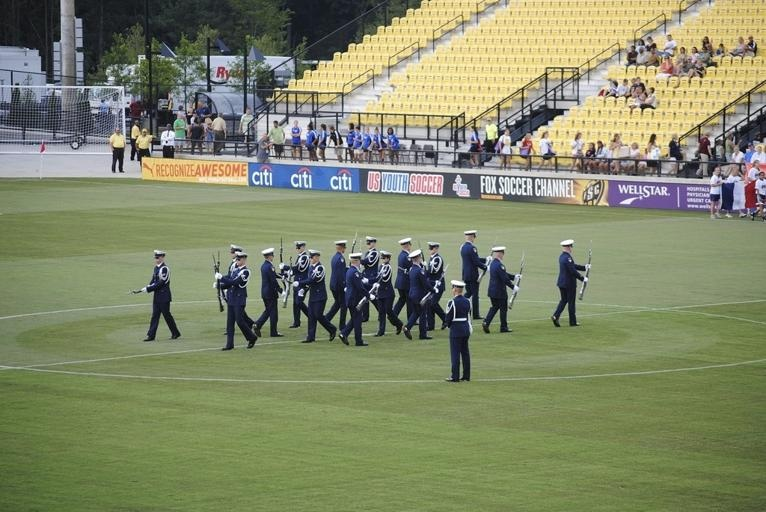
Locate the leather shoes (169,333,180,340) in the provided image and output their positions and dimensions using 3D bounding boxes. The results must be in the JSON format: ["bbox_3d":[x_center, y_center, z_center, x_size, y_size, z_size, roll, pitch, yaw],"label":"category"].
[{"bbox_3d":[-7.054,2.705,61.542,0.366,0.132,0.116,-2,20,29],"label":"leather shoes"}]

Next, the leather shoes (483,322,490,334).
[{"bbox_3d":[3.433,2.426,61.934,0.166,0.405,0.190,-6,3,6],"label":"leather shoes"}]

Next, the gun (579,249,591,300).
[{"bbox_3d":[7.217,0.731,66.202,0.379,1.806,0.359,10,6,1],"label":"gun"}]

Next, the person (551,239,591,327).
[{"bbox_3d":[6.360,0.953,62.632,1.768,2.817,1.035,-1,-1,-15],"label":"person"}]

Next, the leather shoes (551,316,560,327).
[{"bbox_3d":[5.820,2.266,62.612,0.171,0.189,0.475,-9,-35,28],"label":"leather shoes"}]

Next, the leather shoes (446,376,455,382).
[{"bbox_3d":[2.103,3.941,58.334,0.336,0.163,0.150,4,5,31],"label":"leather shoes"}]

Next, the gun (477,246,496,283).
[{"bbox_3d":[3.563,0.324,64.687,0.116,0.331,1.946,4,44,36],"label":"gun"}]
